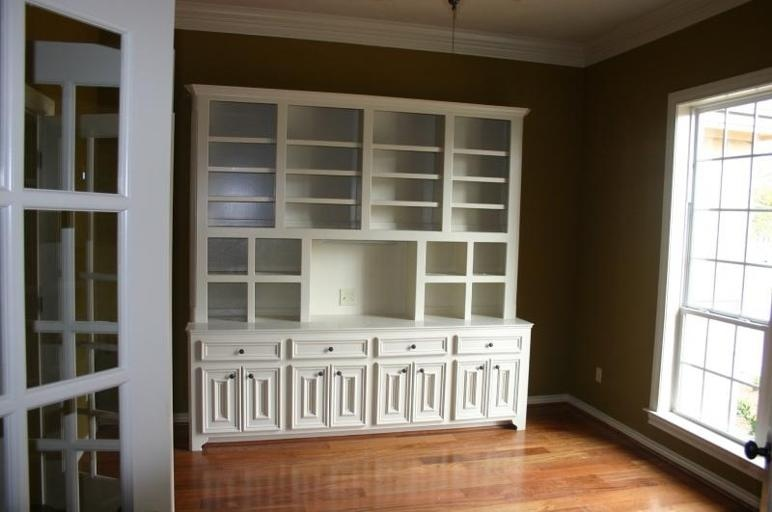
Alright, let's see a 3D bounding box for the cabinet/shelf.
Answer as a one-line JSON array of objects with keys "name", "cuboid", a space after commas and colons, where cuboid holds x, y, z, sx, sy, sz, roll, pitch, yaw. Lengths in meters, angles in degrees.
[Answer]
[{"name": "cabinet/shelf", "cuboid": [-0.295, 0.093, 5.022, 3.122, 2.891, 0.841, -1, 1, -12]}]
